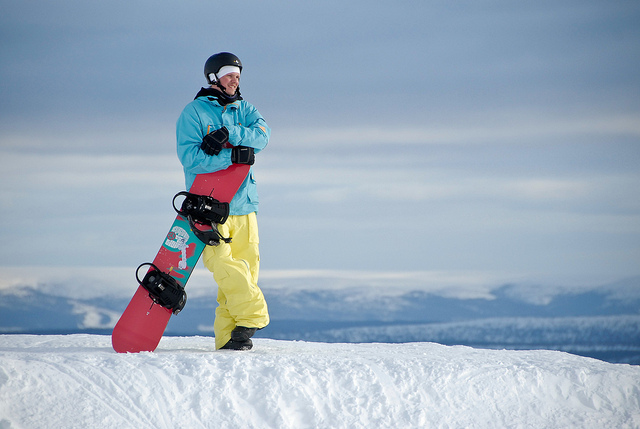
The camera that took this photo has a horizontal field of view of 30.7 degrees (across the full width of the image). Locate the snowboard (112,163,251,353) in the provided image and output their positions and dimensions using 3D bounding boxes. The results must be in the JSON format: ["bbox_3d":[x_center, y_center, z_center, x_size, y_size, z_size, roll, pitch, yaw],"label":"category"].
[{"bbox_3d":[-0.906,0.369,8.753,0.348,1.555,0.234,32,-6,3],"label":"snowboard"}]
